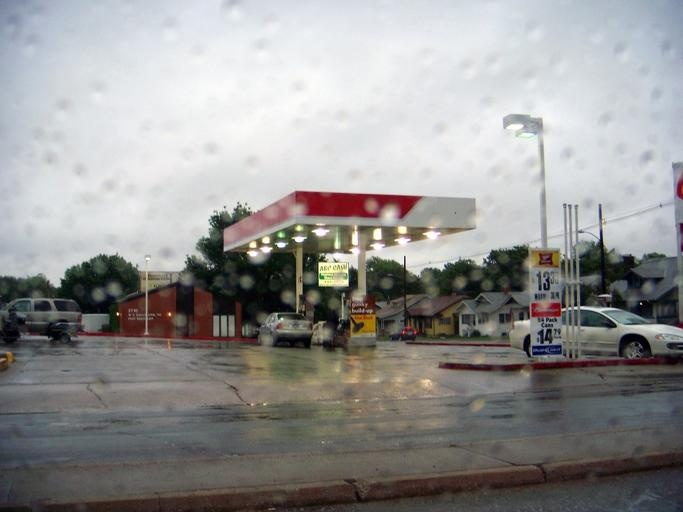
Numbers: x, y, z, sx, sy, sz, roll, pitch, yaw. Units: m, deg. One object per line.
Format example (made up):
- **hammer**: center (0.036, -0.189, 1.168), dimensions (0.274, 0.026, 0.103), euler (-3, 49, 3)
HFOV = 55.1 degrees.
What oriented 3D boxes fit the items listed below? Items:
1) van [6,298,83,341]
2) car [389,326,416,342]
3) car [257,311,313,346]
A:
- **van**: center (-14.212, 3.016, 31.404), dimensions (2.965, 1.630, 1.759), euler (10, -11, -31)
- **car**: center (6.934, 8.523, 71.739), dimensions (1.264, 1.249, 3.047), euler (3, -3, -15)
- **car**: center (-2.814, 3.468, 31.159), dimensions (1.512, 1.555, 2.944), euler (5, -8, -39)
